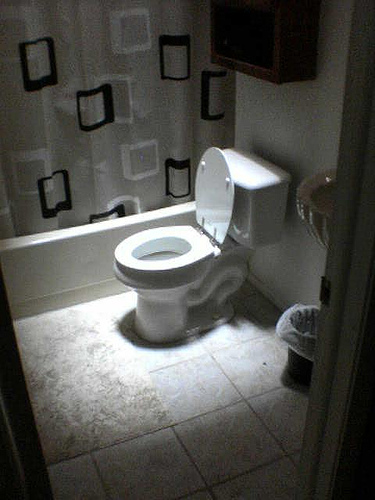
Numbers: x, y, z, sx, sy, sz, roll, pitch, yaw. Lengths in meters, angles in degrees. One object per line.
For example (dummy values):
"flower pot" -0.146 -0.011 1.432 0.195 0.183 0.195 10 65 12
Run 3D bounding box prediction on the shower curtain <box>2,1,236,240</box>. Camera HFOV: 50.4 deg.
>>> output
"shower curtain" -0.455 -0.738 2.109 0.946 1.433 0.197 -13 29 -25

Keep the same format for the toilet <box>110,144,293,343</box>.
"toilet" 0.030 -0.033 1.980 0.773 0.997 0.453 -17 38 -26

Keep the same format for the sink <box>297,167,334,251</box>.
"sink" 0.461 -0.162 1.460 0.122 0.310 0.288 6 25 18

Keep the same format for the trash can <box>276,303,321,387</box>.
"trash can" 0.477 0.404 1.752 0.161 0.290 0.319 7 26 21
